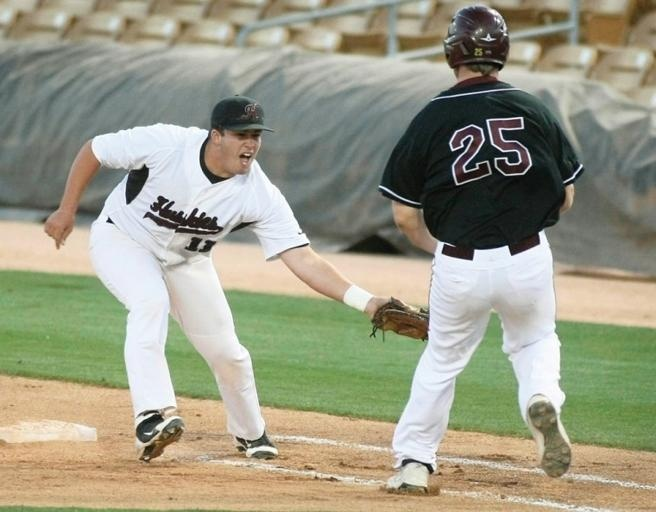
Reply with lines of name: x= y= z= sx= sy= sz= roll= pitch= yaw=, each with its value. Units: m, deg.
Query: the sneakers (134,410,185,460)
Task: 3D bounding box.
sneakers: x=-1.053 y=1.143 z=7.982 sx=0.291 sy=0.399 sz=0.269 roll=1 pitch=14 yaw=-7

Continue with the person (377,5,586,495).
person: x=0.885 y=-0.012 z=7.689 sx=1.198 sy=2.896 sz=0.893 roll=4 pitch=14 yaw=4

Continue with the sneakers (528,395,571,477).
sneakers: x=1.294 y=1.053 z=7.605 sx=0.237 sy=0.483 sz=0.273 roll=-20 pitch=-9 yaw=4

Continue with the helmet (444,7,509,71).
helmet: x=0.910 y=-1.343 z=7.835 sx=0.375 sy=0.313 sz=0.409 roll=3 pitch=19 yaw=-3

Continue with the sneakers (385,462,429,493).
sneakers: x=0.500 y=1.352 z=7.811 sx=0.178 sy=0.103 sz=0.248 roll=2 pitch=-1 yaw=-3

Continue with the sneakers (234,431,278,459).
sneakers: x=-0.472 y=1.266 z=8.447 sx=0.317 sy=0.126 sz=0.137 roll=-1 pitch=-2 yaw=45

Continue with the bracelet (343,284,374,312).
bracelet: x=0.206 y=0.273 z=8.130 sx=0.173 sy=0.174 sz=0.136 roll=11 pitch=16 yaw=31

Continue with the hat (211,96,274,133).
hat: x=-0.549 y=-0.907 z=8.135 sx=0.337 sy=0.215 sz=0.440 roll=-9 pitch=15 yaw=-43
